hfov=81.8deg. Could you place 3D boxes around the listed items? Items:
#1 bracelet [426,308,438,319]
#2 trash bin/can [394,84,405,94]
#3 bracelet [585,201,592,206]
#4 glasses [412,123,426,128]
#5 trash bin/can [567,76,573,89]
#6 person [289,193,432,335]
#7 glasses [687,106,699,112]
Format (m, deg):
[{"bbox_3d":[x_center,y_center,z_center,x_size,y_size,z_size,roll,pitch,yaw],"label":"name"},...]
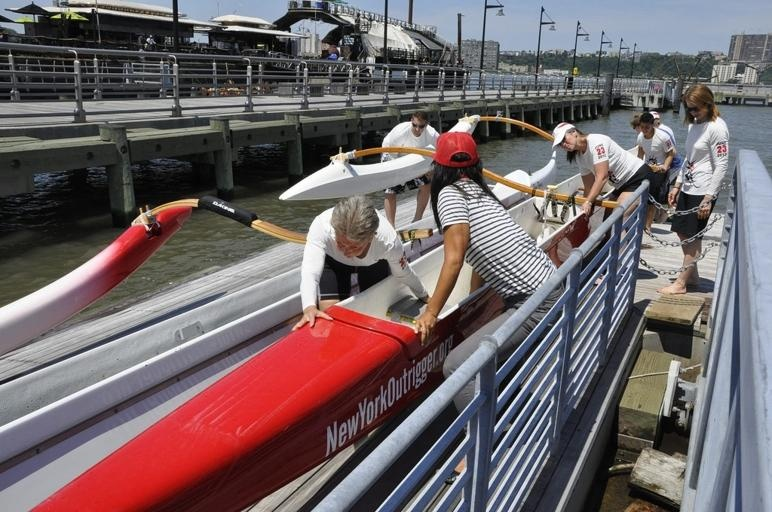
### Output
[{"bbox_3d":[0.285,0.375,2.886,0.070,0.051,0.056,-24,22,12],"label":"bracelet"},{"bbox_3d":[0.718,-9.213,24.578,0.530,0.405,1.416,1,20,-2],"label":"trash bin/can"},{"bbox_3d":[2.209,-0.573,4.934,0.076,0.065,0.043,8,-1,-18],"label":"bracelet"},{"bbox_3d":[0.572,-2.251,7.700,0.253,0.092,0.107,-10,24,-29],"label":"glasses"},{"bbox_3d":[15.438,-14.692,37.713,0.508,0.600,2.872,5,10,19],"label":"trash bin/can"},{"bbox_3d":[-0.266,0.007,3.303,1.037,0.975,1.409,-4,-16,-8],"label":"person"},{"bbox_3d":[3.206,-1.563,4.709,0.056,0.017,0.053,-43,28,-24],"label":"glasses"}]
